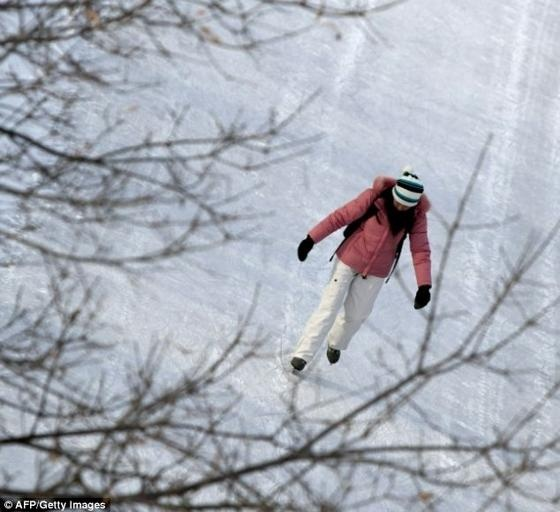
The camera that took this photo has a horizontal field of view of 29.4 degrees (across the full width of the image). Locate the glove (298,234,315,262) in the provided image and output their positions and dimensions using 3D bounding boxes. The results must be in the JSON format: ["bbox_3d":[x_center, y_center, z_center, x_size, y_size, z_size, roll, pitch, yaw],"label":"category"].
[{"bbox_3d":[0.176,-0.041,8.106,0.085,0.240,0.101,29,12,9],"label":"glove"}]

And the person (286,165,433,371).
[{"bbox_3d":[0.615,0.112,8.079,0.979,1.642,0.514,15,27,-15],"label":"person"}]

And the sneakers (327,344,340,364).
[{"bbox_3d":[0.415,0.763,8.393,0.079,0.151,0.100,-4,1,-17],"label":"sneakers"}]

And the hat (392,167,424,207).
[{"bbox_3d":[0.945,-0.487,7.859,0.224,0.246,0.221,24,27,3],"label":"hat"}]
